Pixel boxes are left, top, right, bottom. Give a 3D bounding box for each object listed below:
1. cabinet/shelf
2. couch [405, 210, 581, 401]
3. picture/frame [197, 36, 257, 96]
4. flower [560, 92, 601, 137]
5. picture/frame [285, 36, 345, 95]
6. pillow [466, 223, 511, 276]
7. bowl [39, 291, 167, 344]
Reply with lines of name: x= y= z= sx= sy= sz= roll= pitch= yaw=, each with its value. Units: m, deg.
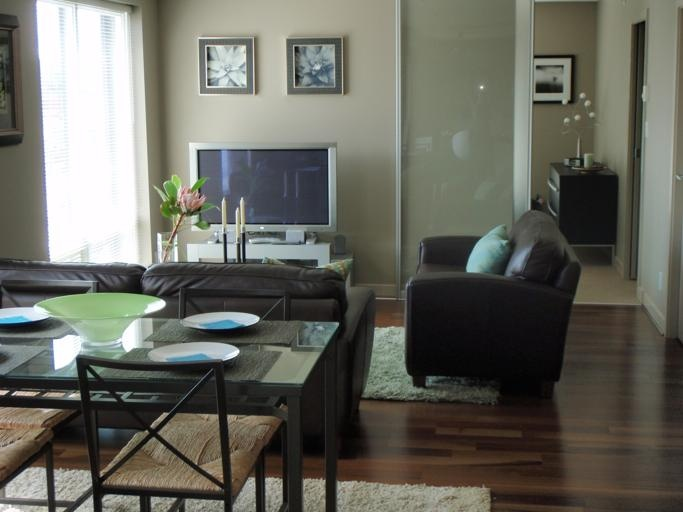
cabinet/shelf: x=3.474 y=-0.548 z=7.822 sx=0.733 sy=0.955 sz=1.962 roll=2 pitch=4 yaw=32
couch: x=1.047 y=0.229 z=4.278 sx=1.076 sy=1.039 sz=1.599 roll=-1 pitch=12 yaw=9
picture/frame: x=-1.131 y=-1.941 z=5.853 sx=0.609 sy=0.580 sz=0.062 roll=1 pitch=5 yaw=1
flower: x=3.433 y=-2.038 z=8.402 sx=0.461 sy=0.616 sz=0.287 roll=4 pitch=13 yaw=19
picture/frame: x=-0.241 y=-1.903 z=5.729 sx=0.577 sy=0.610 sz=0.042 roll=3 pitch=10 yaw=-1
pillow: x=1.026 y=-0.009 z=4.026 sx=0.227 sy=0.352 sz=0.582 roll=8 pitch=17 yaw=13
bowl: x=-0.898 y=0.209 z=2.157 sx=0.268 sy=0.087 sz=0.263 roll=4 pitch=7 yaw=-1
